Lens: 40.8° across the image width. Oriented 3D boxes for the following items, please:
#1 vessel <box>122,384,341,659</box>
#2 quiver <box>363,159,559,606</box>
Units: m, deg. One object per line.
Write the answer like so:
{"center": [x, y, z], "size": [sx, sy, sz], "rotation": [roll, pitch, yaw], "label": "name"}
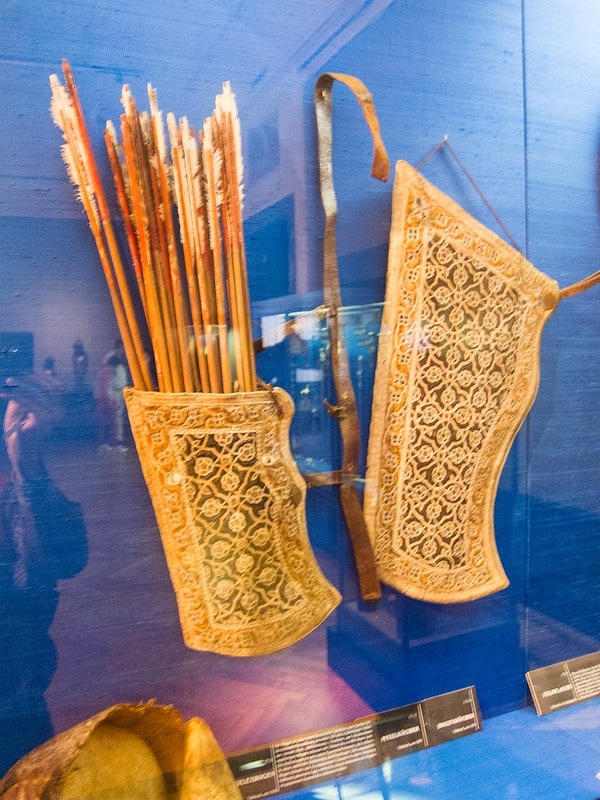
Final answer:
{"center": [-0.101, 0.190, 1.264], "size": [0.249, 0.440, 0.090], "rotation": [-10, 15, -10], "label": "vessel"}
{"center": [0.286, -0.031, 1.469], "size": [0.456, 0.795, 0.141], "rotation": [-16, 17, -31], "label": "quiver"}
